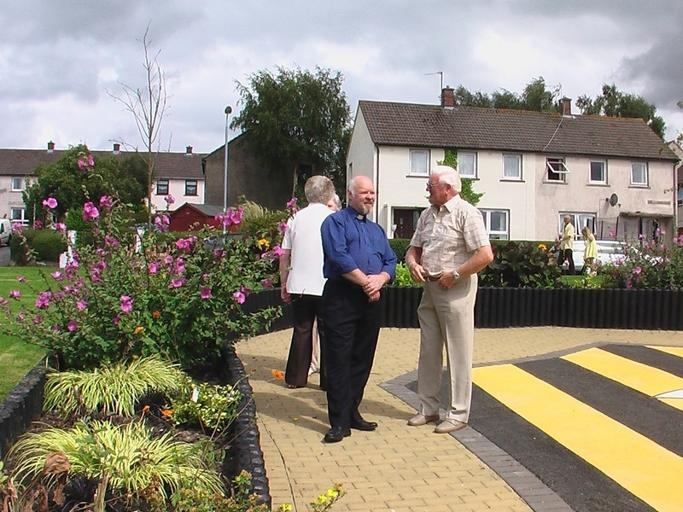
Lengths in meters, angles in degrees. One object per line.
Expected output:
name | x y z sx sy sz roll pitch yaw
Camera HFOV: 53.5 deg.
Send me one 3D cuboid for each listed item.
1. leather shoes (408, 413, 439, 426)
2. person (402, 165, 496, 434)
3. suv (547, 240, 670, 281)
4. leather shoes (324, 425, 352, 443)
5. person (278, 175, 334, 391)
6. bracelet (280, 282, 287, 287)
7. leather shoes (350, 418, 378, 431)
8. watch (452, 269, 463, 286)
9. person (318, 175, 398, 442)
leather shoes | 0.821 1.636 6.832 0.329 0.161 0.120 9 -3 -20
person | 1.036 0.390 6.680 0.880 2.555 0.577 2 5 28
suv | 6.099 0.106 15.651 2.049 0.797 1.060 -1 6 2
leather shoes | -0.038 1.668 6.342 0.097 0.139 0.287 -8 -14 29
person | -0.351 0.258 8.024 0.625 2.625 0.709 0 26 -4
bracelet | -0.661 0.326 7.869 0.051 0.062 0.047 1 -2 6
leather shoes | 0.226 1.612 6.583 0.262 0.138 0.100 -2 5 2
watch | 1.103 0.198 6.505 0.022 0.099 0.093 -7 25 -31
person | 0.146 0.466 6.482 0.779 2.439 0.542 -2 5 -16
